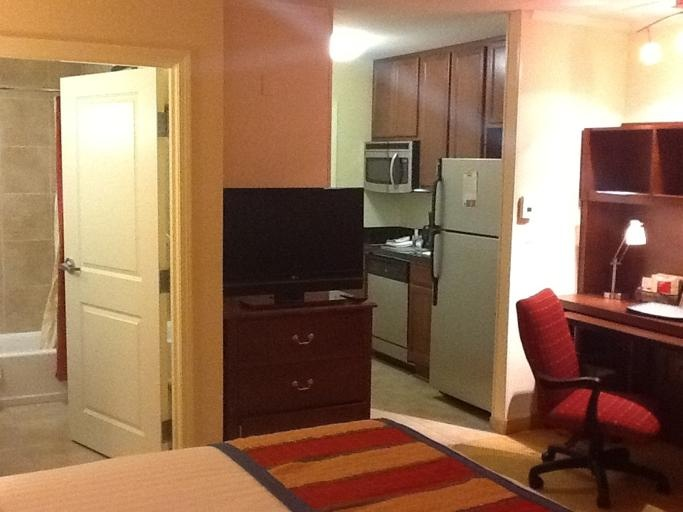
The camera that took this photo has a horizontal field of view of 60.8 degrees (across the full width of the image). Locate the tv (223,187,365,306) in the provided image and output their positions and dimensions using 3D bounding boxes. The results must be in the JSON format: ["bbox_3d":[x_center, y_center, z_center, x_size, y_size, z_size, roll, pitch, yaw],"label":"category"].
[{"bbox_3d":[-0.332,-0.069,3.620,0.787,0.527,0.101,-2,8,-18],"label":"tv"}]

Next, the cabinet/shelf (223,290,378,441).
[{"bbox_3d":[-0.356,0.781,3.790,1.008,0.887,0.585,-1,0,-24],"label":"cabinet/shelf"}]

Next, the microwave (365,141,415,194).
[{"bbox_3d":[0.492,-0.893,5.738,0.315,0.401,0.553,-2,6,-24],"label":"microwave"}]
